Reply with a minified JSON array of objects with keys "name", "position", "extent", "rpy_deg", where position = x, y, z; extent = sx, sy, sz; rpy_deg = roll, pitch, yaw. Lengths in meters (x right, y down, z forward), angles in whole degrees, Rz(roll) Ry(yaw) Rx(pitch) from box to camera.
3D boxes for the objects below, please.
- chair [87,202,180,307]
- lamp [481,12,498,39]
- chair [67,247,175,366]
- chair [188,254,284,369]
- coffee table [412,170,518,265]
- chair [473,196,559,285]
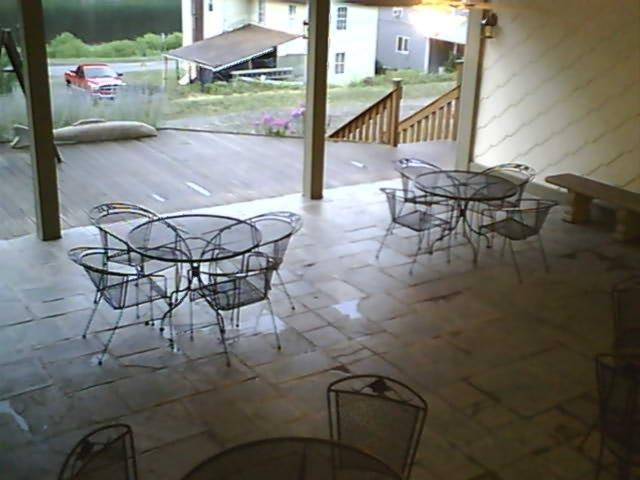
[{"name":"chair","position":[-1.832,0.175,4.985],"extent":[0.870,0.939,0.775],"rpy_deg":[-16,50,-27]},{"name":"lamp","position":[2.622,-3.333,7.908],"extent":[0.248,0.391,0.122],"rpy_deg":[10,27,16]},{"name":"chair","position":[-1.792,0.639,4.605],"extent":[0.801,0.722,0.714],"rpy_deg":[-19,42,-34]},{"name":"chair","position":[-0.725,0.522,4.493],"extent":[0.724,0.873,0.877],"rpy_deg":[-2,24,-9]},{"name":"coffee table","position":[1.626,-0.176,6.318],"extent":[1.569,0.869,1.269],"rpy_deg":[-2,27,-1]},{"name":"chair","position":[2.299,0.045,6.034],"extent":[0.825,0.885,0.763],"rpy_deg":[-21,43,-20]}]
